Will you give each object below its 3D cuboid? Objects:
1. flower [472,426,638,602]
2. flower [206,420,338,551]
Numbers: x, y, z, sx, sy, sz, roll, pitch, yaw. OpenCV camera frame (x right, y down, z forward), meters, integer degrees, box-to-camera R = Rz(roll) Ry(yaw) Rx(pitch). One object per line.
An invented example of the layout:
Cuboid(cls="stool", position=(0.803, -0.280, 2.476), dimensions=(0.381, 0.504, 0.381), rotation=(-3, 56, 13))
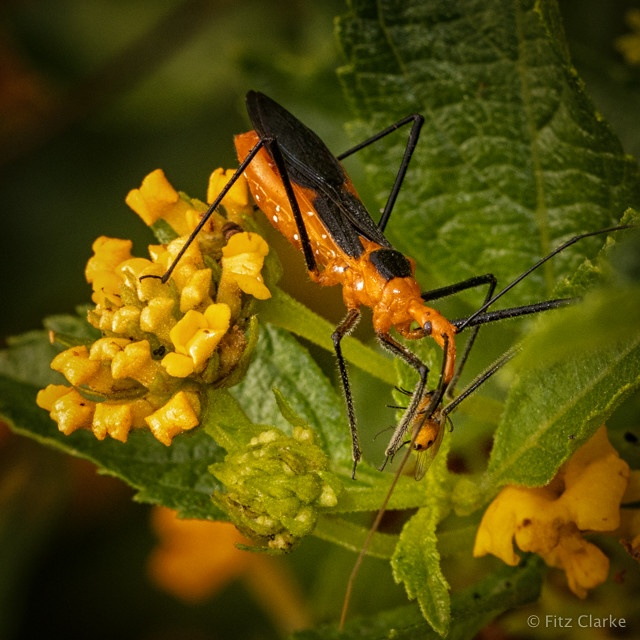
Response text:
Cuboid(cls="flower", position=(0.507, 0.407, 1.748), dimensions=(0.420, 0.353, 0.111), rotation=(-15, -50, 26))
Cuboid(cls="flower", position=(-0.096, 0.342, 1.757), dimensions=(0.296, 0.233, 0.106), rotation=(-11, -8, -13))
